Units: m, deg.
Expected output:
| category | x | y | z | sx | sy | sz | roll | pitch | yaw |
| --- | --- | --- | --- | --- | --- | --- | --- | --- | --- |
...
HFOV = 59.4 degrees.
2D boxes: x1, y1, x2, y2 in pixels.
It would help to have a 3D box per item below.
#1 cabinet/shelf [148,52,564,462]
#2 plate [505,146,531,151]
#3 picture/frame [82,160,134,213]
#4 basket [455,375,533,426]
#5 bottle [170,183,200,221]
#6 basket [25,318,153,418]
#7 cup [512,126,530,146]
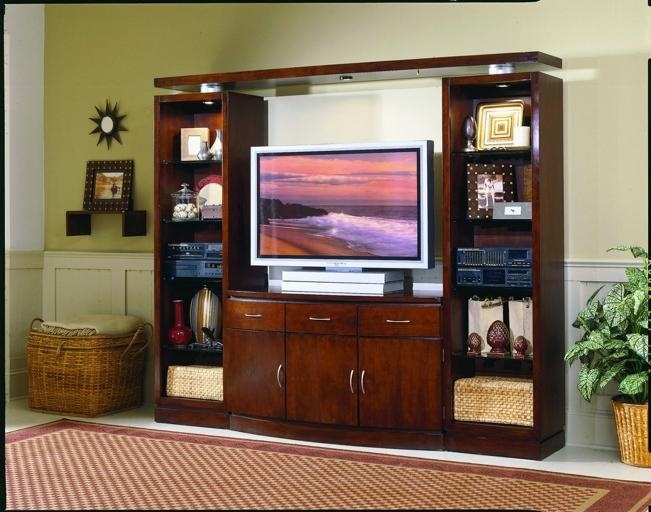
| category | x | y | z | sx | sy | sz | roll | pitch | yaw |
| --- | --- | --- | --- | --- | --- | --- | --- | --- | --- |
| cabinet/shelf | 0.284 | 0.045 | 3.906 | 2.723 | 2.524 | 0.727 | -1 | -1 | 23 |
| plate | 1.208 | -0.676 | 3.591 | 0.147 | 0.041 | 0.062 | 0 | -1 | 17 |
| picture/frame | -1.860 | -0.592 | 4.959 | 0.461 | 0.483 | 0.035 | -1 | -6 | 12 |
| basket | 1.073 | 0.841 | 3.690 | 0.407 | 0.206 | 0.293 | 1 | -1 | 16 |
| bottle | -1.056 | -0.417 | 4.389 | 0.256 | 0.359 | 0.262 | 0 | 2 | 0 |
| basket | -1.906 | 0.843 | 4.777 | 0.954 | 0.698 | 0.749 | 0 | -3 | 19 |
| cup | 1.228 | -0.743 | 3.582 | 0.111 | 0.129 | 0.113 | 0 | 5 | 0 |
